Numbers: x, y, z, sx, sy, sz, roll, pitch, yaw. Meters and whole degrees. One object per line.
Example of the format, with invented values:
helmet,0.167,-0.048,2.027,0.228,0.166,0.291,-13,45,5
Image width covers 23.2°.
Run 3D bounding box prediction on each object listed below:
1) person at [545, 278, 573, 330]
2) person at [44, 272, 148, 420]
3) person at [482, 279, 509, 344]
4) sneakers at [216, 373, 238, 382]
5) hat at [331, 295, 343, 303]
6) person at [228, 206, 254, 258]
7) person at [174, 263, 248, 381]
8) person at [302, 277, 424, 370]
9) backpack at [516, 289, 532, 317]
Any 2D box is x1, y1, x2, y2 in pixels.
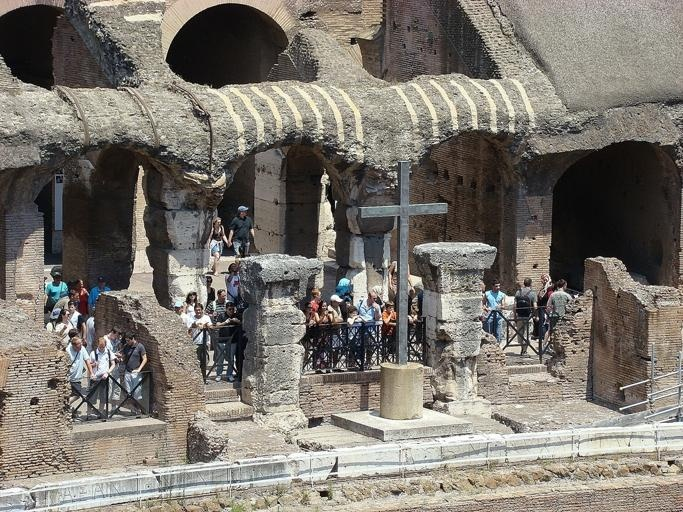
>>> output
person,4.102,1.038,31.132,0.463,1.159,0.312,6,35,8
person,-3.878,1.636,27.337,1.331,0.791,2.276,1,16,-11
person,2.847,1.062,30.702,0.402,1.095,0.606,-2,-4,5
sneakers,-1.949,2.097,28.494,0.224,0.072,0.144,-2,9,-11
hat,-0.034,0.795,29.469,0.180,0.070,0.118,6,9,-35
person,-1.990,-0.399,33.520,0.505,0.995,1.387,-2,-4,-4
person,-2.083,1.461,28.863,1.019,1.446,1.966,-2,-4,-3
person,0.171,1.386,29.143,1.740,1.273,0.811,-1,-4,-12
backpack,3.444,0.922,31.117,0.339,0.521,0.215,-2,-4,0
